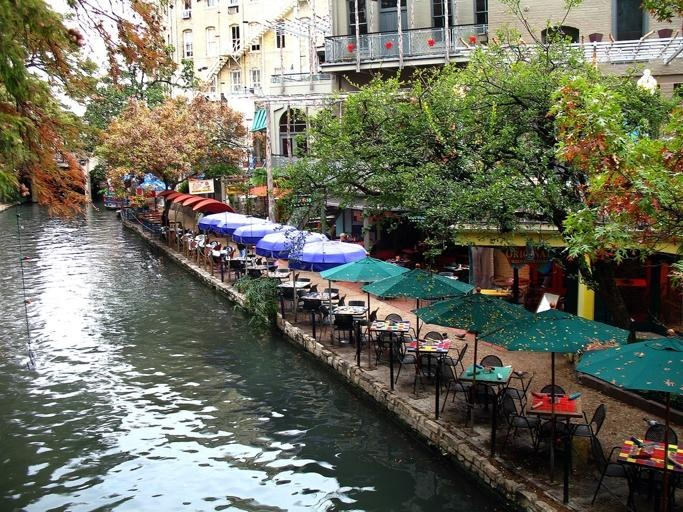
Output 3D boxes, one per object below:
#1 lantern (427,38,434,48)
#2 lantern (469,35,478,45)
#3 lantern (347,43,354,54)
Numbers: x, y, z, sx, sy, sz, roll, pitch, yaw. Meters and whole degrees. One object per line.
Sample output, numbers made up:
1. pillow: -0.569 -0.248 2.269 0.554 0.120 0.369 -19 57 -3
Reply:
1. lantern: 4.432 -10.513 31.606 0.361 0.412 0.540 0 12 7
2. lantern: 6.256 -10.252 30.476 0.346 0.441 1.150 1 12 11
3. lantern: 0.487 -10.494 32.482 0.414 0.423 0.441 -9 36 -4
